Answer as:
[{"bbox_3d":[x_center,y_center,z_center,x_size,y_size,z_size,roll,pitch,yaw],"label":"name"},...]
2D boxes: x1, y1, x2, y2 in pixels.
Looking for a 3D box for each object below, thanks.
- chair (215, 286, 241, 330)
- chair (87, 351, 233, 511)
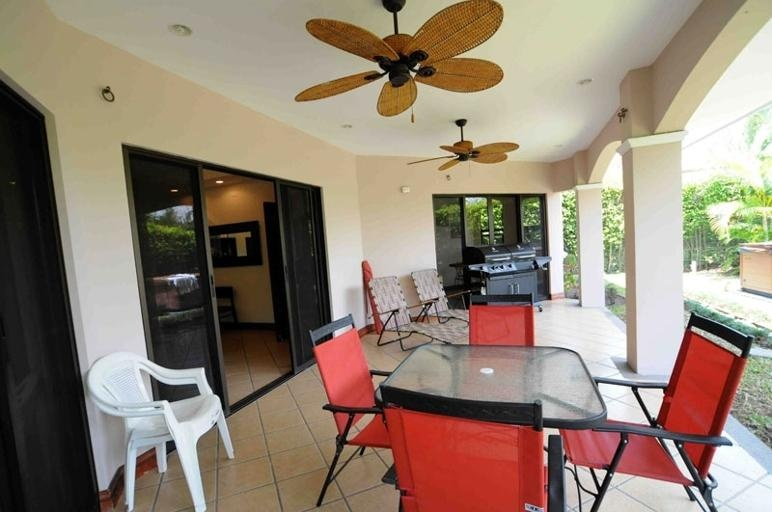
[{"bbox_3d":[-2.718,0.849,8.396,0.378,0.517,0.278,-4,3,20],"label":"chair"},{"bbox_3d":[-2.143,1.451,4.816,1.243,1.497,1.193,0,2,-2],"label":"chair"}]
